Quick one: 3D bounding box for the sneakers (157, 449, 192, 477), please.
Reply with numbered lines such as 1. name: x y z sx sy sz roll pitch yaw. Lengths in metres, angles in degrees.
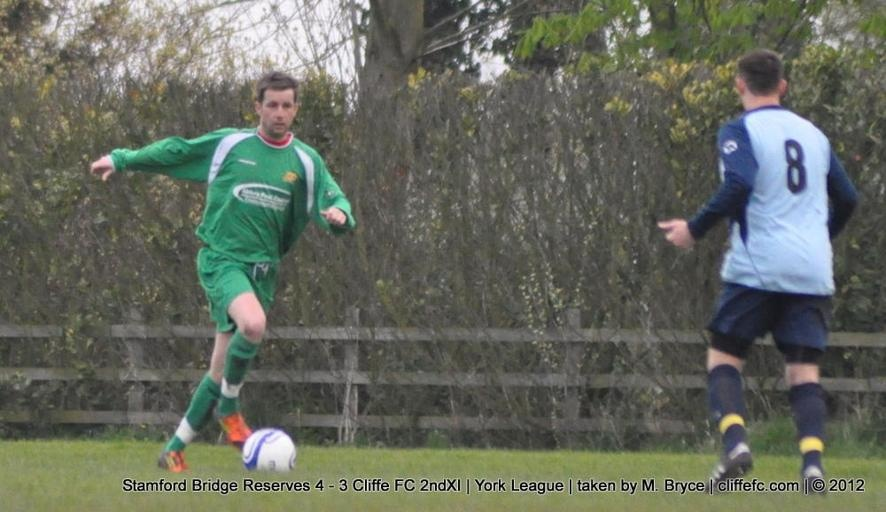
1. sneakers: -3.011 2.303 22.123 0.327 0.228 0.159 2 -6 -8
